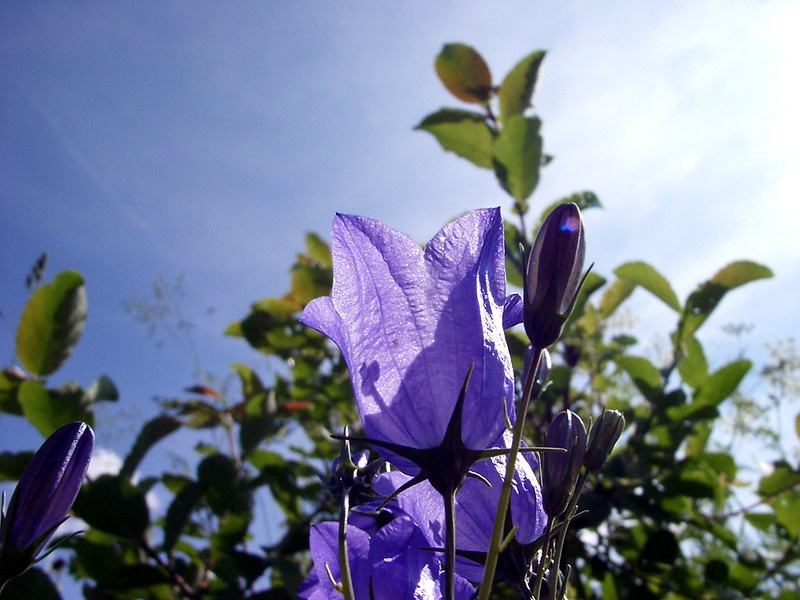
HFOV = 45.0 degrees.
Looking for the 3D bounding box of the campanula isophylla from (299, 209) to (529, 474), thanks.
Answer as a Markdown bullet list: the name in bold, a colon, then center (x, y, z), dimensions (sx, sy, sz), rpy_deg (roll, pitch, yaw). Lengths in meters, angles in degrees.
- **campanula isophylla**: center (0.076, 0.106, 3.012), dimensions (0.616, 0.662, 0.693), rpy_deg (-24, -42, 34)
